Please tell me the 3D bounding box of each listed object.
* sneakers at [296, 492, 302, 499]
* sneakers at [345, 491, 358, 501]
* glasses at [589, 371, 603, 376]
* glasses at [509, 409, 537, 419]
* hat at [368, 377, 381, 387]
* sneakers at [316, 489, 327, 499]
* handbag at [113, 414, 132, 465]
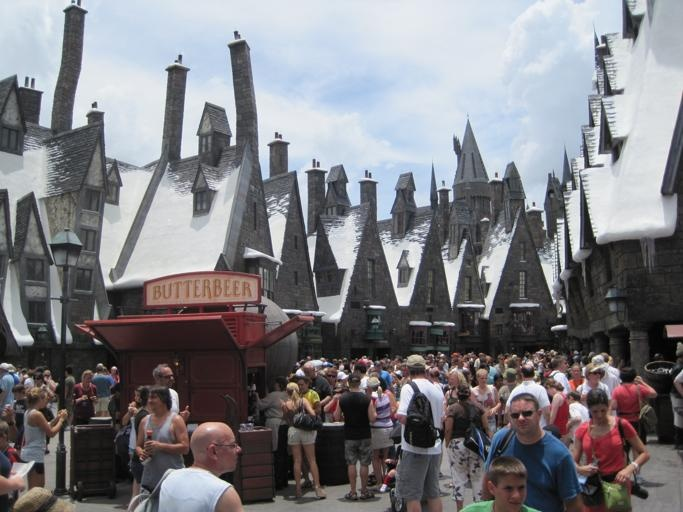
[{"bbox_3d":[-0.897,5.113,19.559,0.101,0.175,0.095,-1,5,5],"label":"sneakers"},{"bbox_3d":[0.210,5.040,19.255,0.143,0.130,0.288,3,-2,-26],"label":"sneakers"},{"bbox_3d":[5.232,2.396,18.754,0.157,0.052,0.163,2,-15,-25],"label":"glasses"},{"bbox_3d":[2.839,2.449,14.215,0.351,0.127,0.078,-4,-9,10],"label":"glasses"},{"bbox_3d":[0.700,2.703,19.764,0.257,0.238,0.376,-2,-9,-1],"label":"hat"},{"bbox_3d":[-0.419,5.050,19.482,0.230,0.217,0.329,-2,-9,-2],"label":"sneakers"},{"bbox_3d":[-4.501,3.755,18.875,0.425,1.133,0.787,5,-8,-19],"label":"handbag"}]
